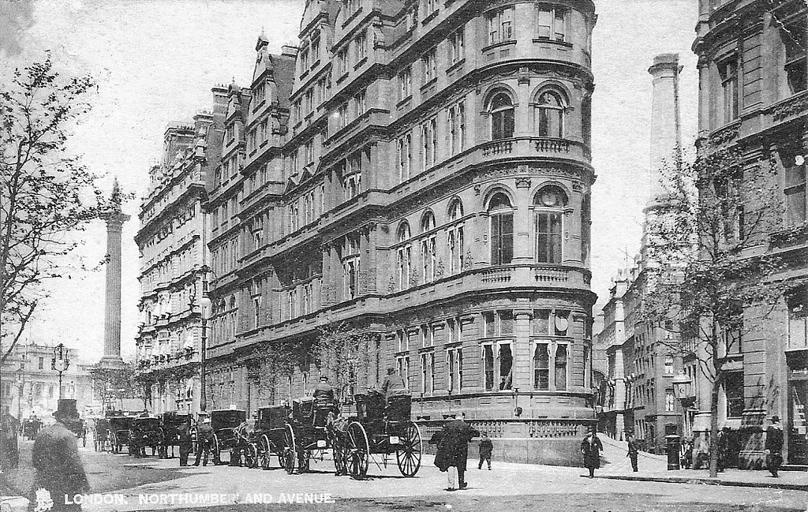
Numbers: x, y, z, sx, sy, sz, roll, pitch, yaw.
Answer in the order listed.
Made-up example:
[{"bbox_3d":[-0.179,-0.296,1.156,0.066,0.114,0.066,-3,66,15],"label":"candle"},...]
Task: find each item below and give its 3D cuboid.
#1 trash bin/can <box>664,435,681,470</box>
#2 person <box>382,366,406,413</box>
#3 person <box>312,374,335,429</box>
[{"bbox_3d":[13.608,10.194,71.966,0.613,1.728,1.409,-4,-15,7],"label":"trash bin/can"},{"bbox_3d":[-0.573,6.052,63.535,1.068,1.881,0.688,-2,-16,0],"label":"person"},{"bbox_3d":[-3.840,6.899,66.133,1.057,2.482,0.801,-1,-16,-5],"label":"person"}]
